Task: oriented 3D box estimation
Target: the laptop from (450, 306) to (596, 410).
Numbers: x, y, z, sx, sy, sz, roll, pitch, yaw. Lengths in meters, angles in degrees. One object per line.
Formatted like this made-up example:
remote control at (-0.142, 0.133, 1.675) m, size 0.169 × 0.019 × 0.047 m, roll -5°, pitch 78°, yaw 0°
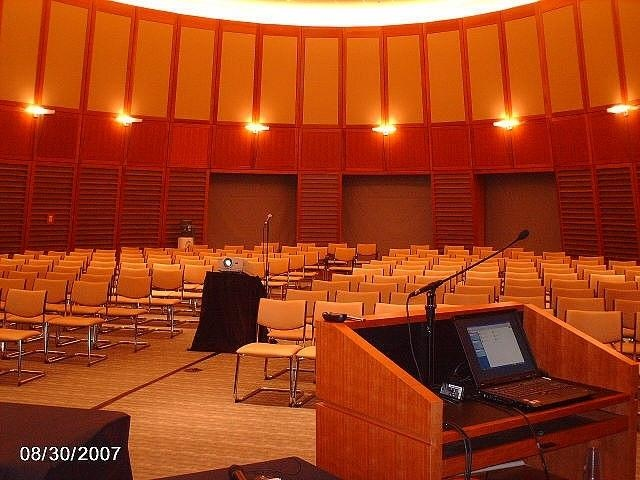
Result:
laptop at (0.983, 0.572, 2.468) m, size 0.462 × 0.493 × 0.343 m, roll 4°, pitch -14°, yaw -32°
